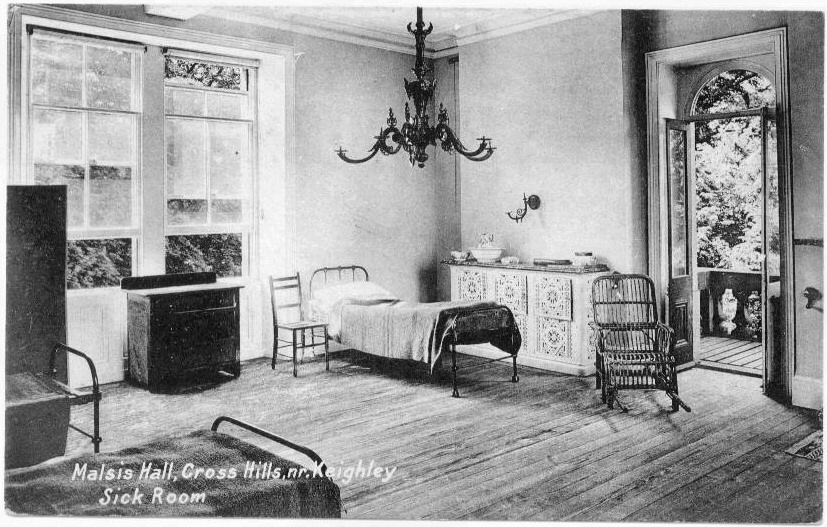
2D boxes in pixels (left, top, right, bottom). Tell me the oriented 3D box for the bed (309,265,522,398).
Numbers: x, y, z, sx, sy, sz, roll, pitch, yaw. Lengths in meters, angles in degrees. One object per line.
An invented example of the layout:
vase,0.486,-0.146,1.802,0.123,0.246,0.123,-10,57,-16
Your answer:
bed,-0.031,0.649,7.090,1.246,1.092,1.969,-4,4,-45

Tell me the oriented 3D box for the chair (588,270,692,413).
chair,2.332,0.780,6.461,0.902,1.167,1.264,2,15,10

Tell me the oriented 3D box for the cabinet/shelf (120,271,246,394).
cabinet/shelf,-2.526,0.737,6.736,1.240,1.162,0.780,-9,17,-28
